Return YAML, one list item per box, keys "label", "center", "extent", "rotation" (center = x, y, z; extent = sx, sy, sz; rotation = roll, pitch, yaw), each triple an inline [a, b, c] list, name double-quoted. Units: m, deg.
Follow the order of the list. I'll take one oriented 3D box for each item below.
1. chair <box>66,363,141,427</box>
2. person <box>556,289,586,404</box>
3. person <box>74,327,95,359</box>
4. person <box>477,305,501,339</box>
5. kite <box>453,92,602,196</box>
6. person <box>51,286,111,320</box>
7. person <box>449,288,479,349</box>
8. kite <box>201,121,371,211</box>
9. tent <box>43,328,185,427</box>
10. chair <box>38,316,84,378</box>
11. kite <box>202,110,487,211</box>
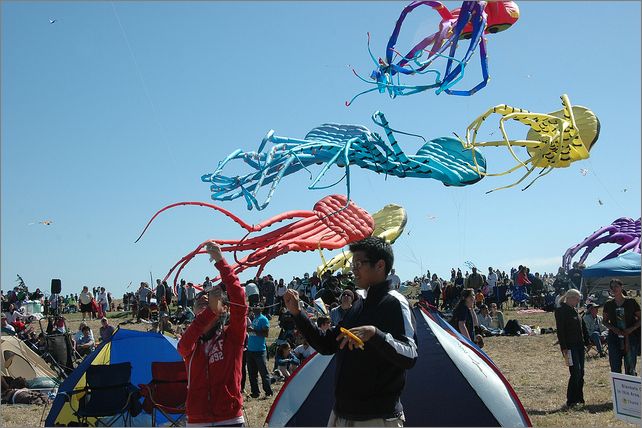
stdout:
- label: "chair"
  center: [-3.797, 3.328, 9.338]
  extent: [1.189, 1.521, 1.095]
  rotation: [-1, -21, -3]
- label: "person"
  center: [5.237, 2.800, 10.277]
  extent: [0.687, 1.699, 0.432]
  rotation: [0, -2, -34]
- label: "person"
  center: [-6.871, 3.703, 14.335]
  extent: [0.561, 0.827, 0.582]
  rotation: [-7, -12, 6]
- label: "person"
  center: [5.818, 3.717, 16.997]
  extent: [0.651, 1.145, 0.836]
  rotation: [-3, -7, -7]
- label: "kite"
  center: [7.903, -2.439, 18.309]
  extent: [4.141, 2.250, 4.459]
  rotation: [-15, 33, -37]
- label: "person"
  center: [-10.482, 4.086, 22.447]
  extent: [0.948, 1.512, 1.639]
  rotation: [-1, -2, -6]
- label: "person"
  center: [3.099, 2.403, 10.704]
  extent: [0.660, 1.425, 0.552]
  rotation: [-2, 3, -10]
- label: "kite"
  center: [-1.174, -2.057, 17.627]
  extent: [5.083, 1.509, 3.524]
  rotation: [-23, 28, -39]
- label: "tent"
  center: [-3.691, 2.748, 9.638]
  extent: [1.910, 0.984, 2.032]
  rotation: [-8, -7, 12]
- label: "chair"
  center: [-7.222, 3.717, 13.594]
  extent: [1.225, 2.052, 1.949]
  rotation: [-5, -12, -24]
- label: "kite"
  center: [1.488, -2.068, 18.277]
  extent: [7.398, 2.403, 5.094]
  rotation: [2, 1, -28]
